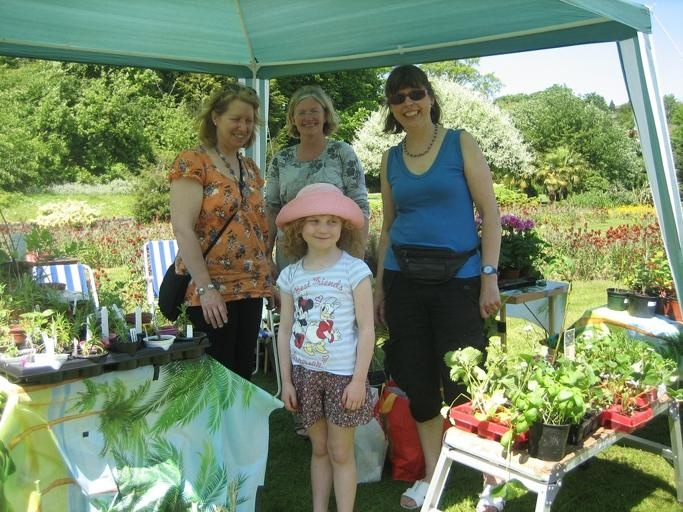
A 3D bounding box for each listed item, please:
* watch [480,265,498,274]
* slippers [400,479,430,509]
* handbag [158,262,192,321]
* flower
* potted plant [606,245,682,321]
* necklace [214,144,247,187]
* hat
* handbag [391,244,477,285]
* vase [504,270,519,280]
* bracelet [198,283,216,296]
[{"bbox_3d":[0.894,0.088,3.479,0.066,0.052,0.065,4,-6,15],"label":"watch"},{"bbox_3d":[0.511,1.532,3.802,0.133,0.130,0.321,-2,-9,32],"label":"slippers"},{"bbox_3d":[-0.977,0.216,3.372,0.177,0.296,0.306,8,-7,-7],"label":"handbag"},{"bbox_3d":[1.555,-0.139,4.961,0.343,0.411,0.369,-25,-8,33],"label":"flower"},{"bbox_3d":[2.320,0.209,4.532,0.387,0.421,0.551,0,-1,2],"label":"potted plant"},{"bbox_3d":[-0.668,-0.532,3.474,0.164,0.261,0.054,-12,-9,-46],"label":"necklace"},{"bbox_3d":[-0.135,-0.284,3.502,0.542,0.258,0.507,3,-10,-25],"label":"hat"},{"bbox_3d":[0.620,-0.002,3.738,0.556,0.243,0.635,3,12,22],"label":"handbag"},{"bbox_3d":[1.420,0.153,4.831,0.077,0.061,0.080,-1,-4,0],"label":"vase"},{"bbox_3d":[-0.760,0.182,3.292,0.091,0.063,0.082,-22,4,-42],"label":"bracelet"}]
